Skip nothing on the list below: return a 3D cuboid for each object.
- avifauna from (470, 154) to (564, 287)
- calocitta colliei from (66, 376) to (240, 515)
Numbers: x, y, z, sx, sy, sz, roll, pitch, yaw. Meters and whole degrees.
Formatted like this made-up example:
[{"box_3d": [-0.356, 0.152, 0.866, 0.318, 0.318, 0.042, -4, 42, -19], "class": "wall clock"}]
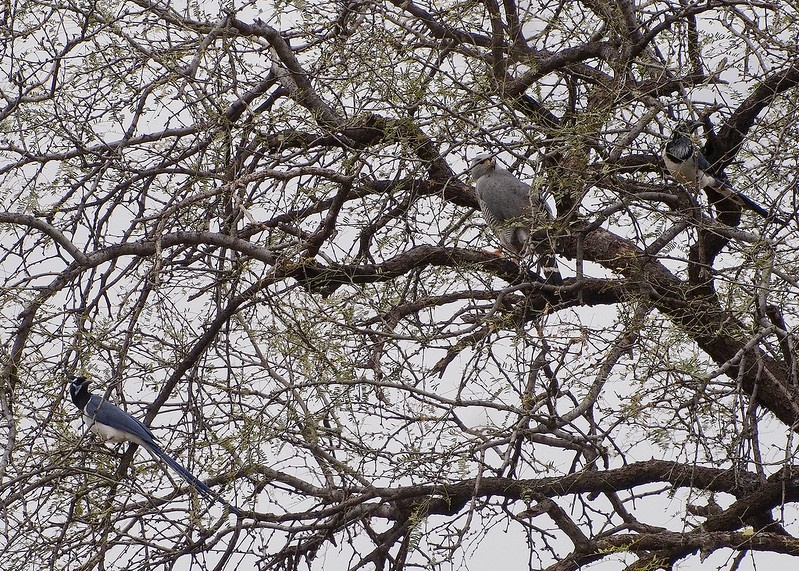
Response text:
[{"box_3d": [1.013, -0.624, 11.544, 0.929, 1.140, 0.496, 2, -22, 20], "class": "avifauna"}, {"box_3d": [-1.865, 1.087, 10.072, 1.400, 0.551, 0.266, 15, -7, 3], "class": "calocitta colliei"}]
